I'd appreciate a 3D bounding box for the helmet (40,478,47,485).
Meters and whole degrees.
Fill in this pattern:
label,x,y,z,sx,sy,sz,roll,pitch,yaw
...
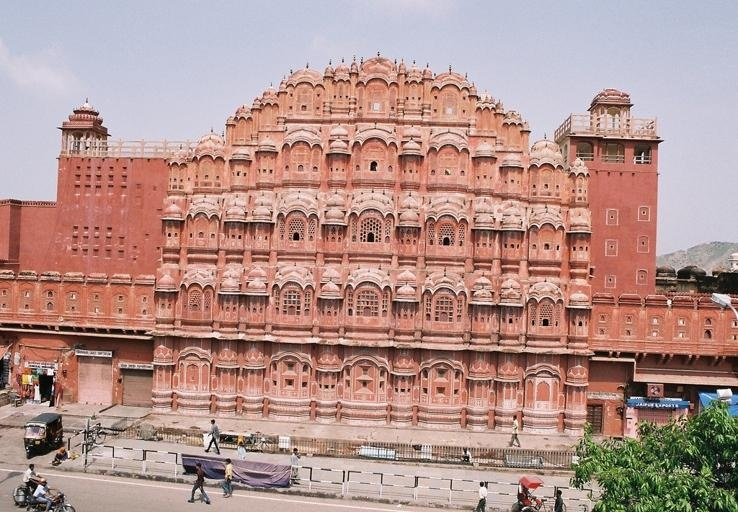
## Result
label,x,y,z,sx,sy,sz,roll,pitch,yaw
helmet,-22.849,15.998,107.728,0.398,0.356,0.398,-1,1,-15

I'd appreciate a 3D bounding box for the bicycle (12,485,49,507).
label,x,y,z,sx,sy,sz,roll,pitch,yaw
bicycle,-24.363,17.143,108.783,1.366,1.391,1.649,5,-26,-15

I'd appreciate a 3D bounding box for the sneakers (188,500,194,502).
label,x,y,z,sx,sy,sz,roll,pitch,yaw
sneakers,-12.709,17.611,109.649,0.461,0.260,0.226,2,-12,-8

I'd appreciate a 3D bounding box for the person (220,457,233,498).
label,x,y,z,sx,sy,sz,roll,pitch,yaw
person,-10.221,16.188,110.854,0.605,2.751,1.196,2,-12,-6

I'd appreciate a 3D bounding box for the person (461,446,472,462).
label,x,y,z,sx,sy,sz,roll,pitch,yaw
person,7.342,15.219,115.656,0.881,1.294,0.853,1,-2,5

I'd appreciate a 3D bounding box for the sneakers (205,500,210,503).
label,x,y,z,sx,sy,sz,roll,pitch,yaw
sneakers,-11.512,17.731,109.455,0.280,0.260,0.170,-1,-12,6

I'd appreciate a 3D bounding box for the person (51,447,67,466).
label,x,y,z,sx,sy,sz,roll,pitch,yaw
person,-22.919,14.991,113.544,1.097,1.362,1.058,1,-12,-2

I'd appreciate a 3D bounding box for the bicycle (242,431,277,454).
label,x,y,z,sx,sy,sz,roll,pitch,yaw
bicycle,-8.269,14.390,116.523,2.401,1.316,1.135,-1,-9,3
